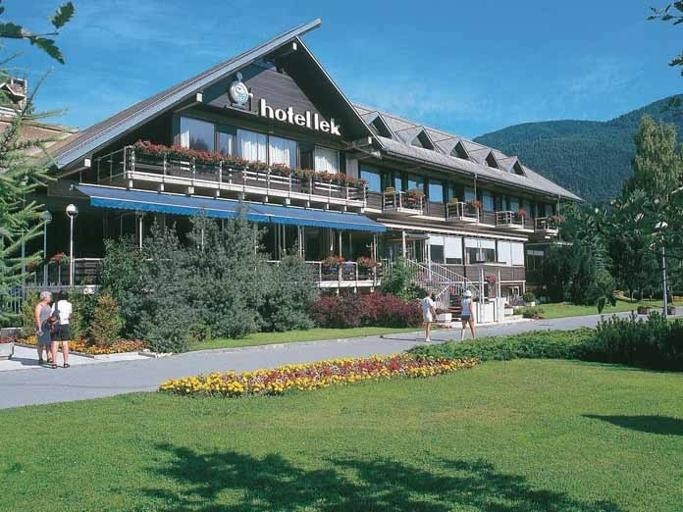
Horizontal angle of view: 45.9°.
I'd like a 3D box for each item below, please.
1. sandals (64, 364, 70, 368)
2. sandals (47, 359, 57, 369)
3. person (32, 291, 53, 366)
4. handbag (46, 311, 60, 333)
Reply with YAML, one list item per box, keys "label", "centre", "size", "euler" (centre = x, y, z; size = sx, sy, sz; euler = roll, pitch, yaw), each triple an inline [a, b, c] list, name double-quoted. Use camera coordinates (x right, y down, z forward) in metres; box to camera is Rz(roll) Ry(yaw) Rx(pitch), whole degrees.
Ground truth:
- label: "sandals"
  centre: [-7.724, 3.065, 22.751]
  size: [0.058, 0.098, 0.132]
  euler: [0, -4, 26]
- label: "sandals"
  centre: [-8.153, 3.051, 22.747]
  size: [0.201, 0.280, 0.611]
  euler: [5, -6, -34]
- label: "person"
  centre: [-8.453, 2.074, 23.037]
  size: [0.417, 2.041, 0.858]
  euler: [-2, 5, -20]
- label: "handbag"
  centre: [-8.120, 1.858, 22.853]
  size: [0.284, 0.566, 0.348]
  euler: [5, -17, -3]
